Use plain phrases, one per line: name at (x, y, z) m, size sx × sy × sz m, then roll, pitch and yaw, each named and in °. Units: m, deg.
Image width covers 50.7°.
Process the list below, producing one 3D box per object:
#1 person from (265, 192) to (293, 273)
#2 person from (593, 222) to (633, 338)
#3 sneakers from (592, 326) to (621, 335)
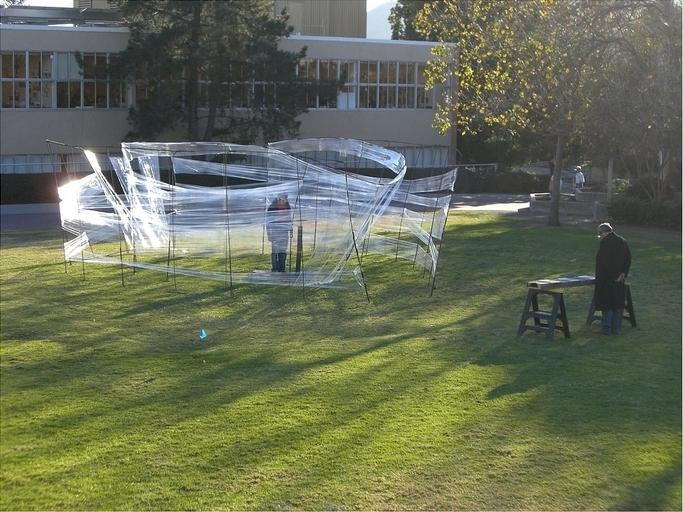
person at (-1.463, -0.535, 17.014) m, size 0.603 × 1.870 × 0.710 m, roll -1°, pitch 14°, yaw -6°
person at (4.929, 0.411, 13.126) m, size 0.581 × 1.973 × 0.602 m, roll 5°, pitch 15°, yaw 18°
sneakers at (4.886, 1.372, 13.233) m, size 0.335 × 0.080 × 0.232 m, roll 1°, pitch 5°, yaw -19°
